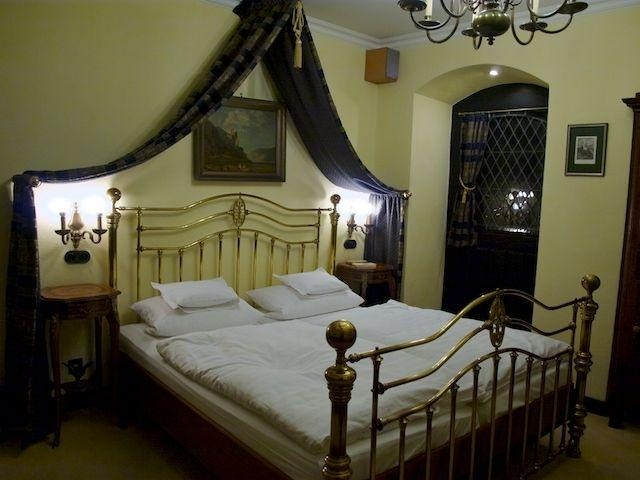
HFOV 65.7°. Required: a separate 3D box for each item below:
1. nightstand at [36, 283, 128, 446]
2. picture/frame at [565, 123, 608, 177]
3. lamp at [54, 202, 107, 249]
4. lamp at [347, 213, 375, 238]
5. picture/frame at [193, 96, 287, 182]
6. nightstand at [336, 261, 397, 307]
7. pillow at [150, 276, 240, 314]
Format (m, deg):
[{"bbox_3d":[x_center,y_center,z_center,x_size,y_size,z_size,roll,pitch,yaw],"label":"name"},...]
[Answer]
[{"bbox_3d":[-1.697,0.858,3.463,0.489,0.953,0.547,0,2,39],"label":"nightstand"},{"bbox_3d":[2.165,-0.730,3.985,0.043,0.587,0.401,-3,6,-38],"label":"picture/frame"},{"bbox_3d":[-1.759,-0.116,3.586,0.347,0.366,0.230,-2,-2,-44],"label":"lamp"},{"bbox_3d":[0.401,-0.138,5.014,0.325,0.242,0.203,7,-11,-32],"label":"lamp"},{"bbox_3d":[-0.723,-0.869,4.212,0.757,0.632,0.052,-3,9,-39],"label":"picture/frame"},{"bbox_3d":[0.468,0.532,4.846,0.459,0.539,0.456,1,1,-3],"label":"nightstand"},{"bbox_3d":[-0.980,0.443,3.939,0.584,0.176,0.654,-9,10,-39],"label":"pillow"}]
